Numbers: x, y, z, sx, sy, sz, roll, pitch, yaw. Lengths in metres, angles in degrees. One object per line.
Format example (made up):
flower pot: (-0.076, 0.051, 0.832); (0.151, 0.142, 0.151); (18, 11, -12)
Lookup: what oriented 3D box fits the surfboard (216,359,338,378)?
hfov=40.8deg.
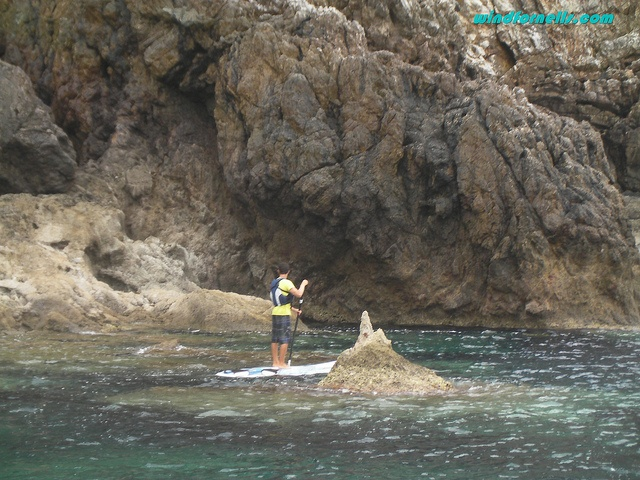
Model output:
surfboard: (-0.849, 2.658, 17.467); (2.407, 0.126, 0.711); (-2, 14, -14)
